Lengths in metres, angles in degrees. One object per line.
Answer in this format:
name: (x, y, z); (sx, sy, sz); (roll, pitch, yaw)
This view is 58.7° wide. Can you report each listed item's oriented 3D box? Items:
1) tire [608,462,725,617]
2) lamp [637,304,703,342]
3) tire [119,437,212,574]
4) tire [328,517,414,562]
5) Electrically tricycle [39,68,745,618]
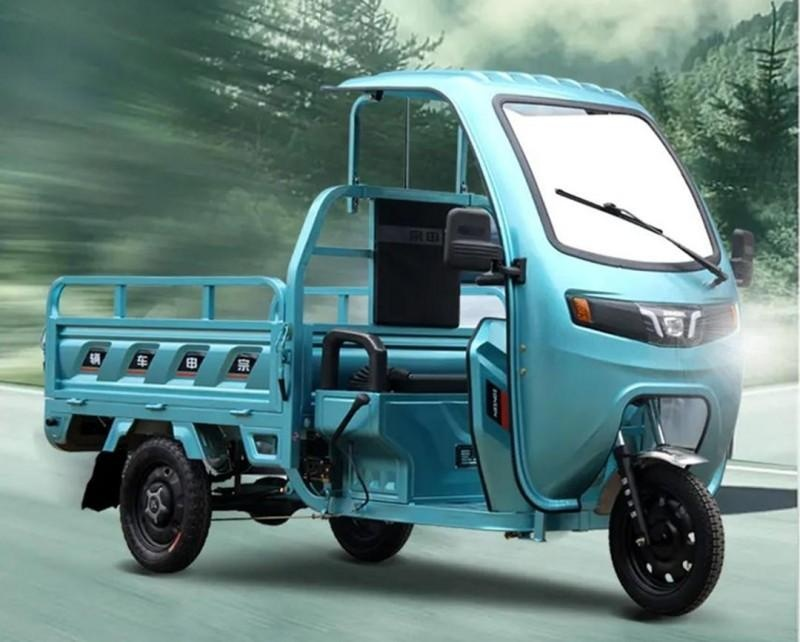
tire: (1.271, 1.045, 3.456); (0.181, 0.726, 0.578); (5, -9, -29)
lamp: (1.352, 0.003, 3.539); (0.245, 0.098, 0.183); (1, 1, 44)
tire: (-1.660, 1.305, 5.055); (0.996, 1.162, 0.335); (0, 0, 41)
tire: (-0.241, 1.735, 5.742); (0.531, 0.160, 0.537); (-11, 12, -2)
Electrically tricycle: (0.061, 0.053, 5.255); (2.427, 3.094, 5.022); (1, 0, -40)
